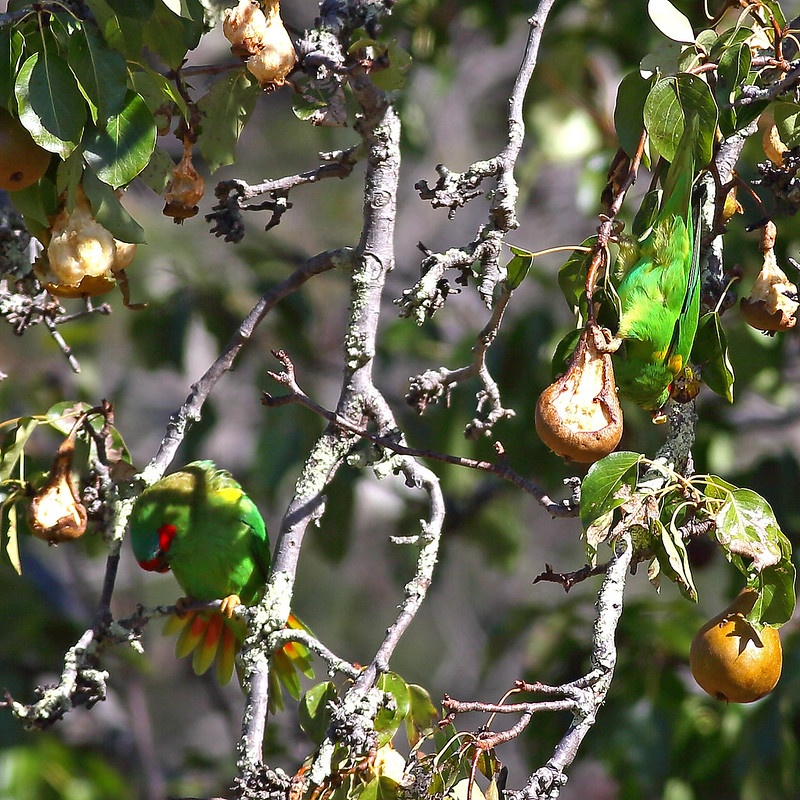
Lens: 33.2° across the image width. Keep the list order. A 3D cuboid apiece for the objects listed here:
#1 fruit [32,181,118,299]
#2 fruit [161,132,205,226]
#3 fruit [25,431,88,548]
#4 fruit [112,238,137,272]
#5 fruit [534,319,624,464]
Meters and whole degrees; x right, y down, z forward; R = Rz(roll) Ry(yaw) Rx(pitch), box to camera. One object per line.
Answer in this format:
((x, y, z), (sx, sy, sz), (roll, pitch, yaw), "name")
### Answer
((-0.476, -0.229, 1.998), (0.097, 0.187, 0.111), (-6, 7, -5), "fruit")
((-0.330, -0.344, 2.082), (0.049, 0.138, 0.050), (13, 8, 38), "fruit")
((-0.529, 0.132, 2.085), (0.080, 0.193, 0.089), (13, 34, -2), "fruit")
((-0.424, -0.226, 2.072), (0.035, 0.043, 0.036), (-11, 76, -7), "fruit")
((0.240, 0.006, 1.766), (0.101, 0.104, 0.215), (8, 60, 19), "fruit")
